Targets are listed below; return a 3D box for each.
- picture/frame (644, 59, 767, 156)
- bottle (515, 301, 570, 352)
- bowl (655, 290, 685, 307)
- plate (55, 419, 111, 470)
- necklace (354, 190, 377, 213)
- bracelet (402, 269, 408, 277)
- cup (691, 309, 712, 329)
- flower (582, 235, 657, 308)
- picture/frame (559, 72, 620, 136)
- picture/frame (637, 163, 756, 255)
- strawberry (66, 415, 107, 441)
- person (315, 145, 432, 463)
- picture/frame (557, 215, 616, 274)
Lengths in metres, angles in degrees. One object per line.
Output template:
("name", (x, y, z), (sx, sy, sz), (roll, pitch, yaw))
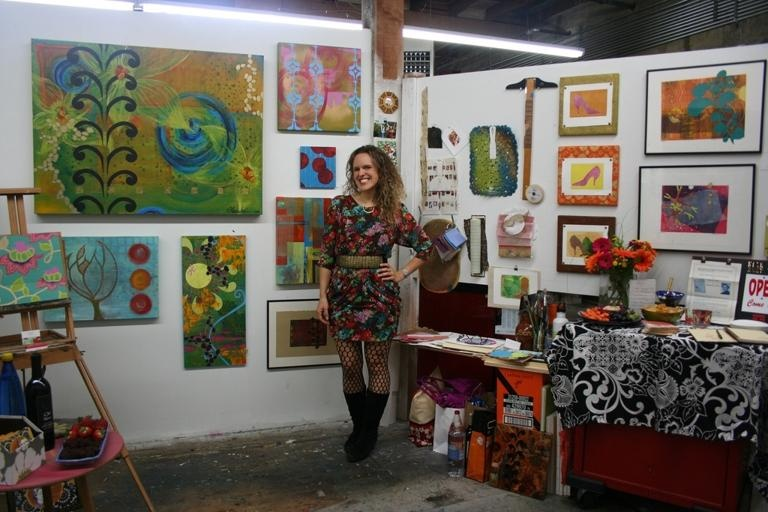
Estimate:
("picture/frame", (2.366, -1.077, 4.005), (0.728, 0.586, 0.017), (1, 0, 17))
("bottle", (1.214, 0.546, 4.375), (0.428, 0.420, 0.271), (2, 0, 10))
("bowl", (2.053, 0.297, 3.967), (0.139, 0.095, 0.140), (7, 7, -1))
("plate", (-1.754, 1.084, 3.264), (0.162, 0.105, 0.311), (8, 18, -12))
("necklace", (-0.144, -0.421, 4.362), (0.181, 0.186, 0.059), (1, 1, 5))
("bracelet", (0.173, 0.134, 4.412), (0.052, 0.051, 0.014), (5, -10, -36))
("cup", (2.182, 0.434, 3.803), (0.117, 0.124, 0.113), (2, 2, 0))
("flower", (1.722, 0.015, 4.151), (0.587, 0.617, 0.485), (6, 9, 44))
("picture/frame", (1.617, -1.188, 4.306), (0.500, 0.493, 0.052), (2, 2, 22))
("picture/frame", (2.318, -0.337, 4.036), (0.656, 0.585, 0.027), (2, 4, 27))
("strawberry", (-1.777, 1.034, 3.364), (0.153, 0.086, 0.161), (5, -5, -10))
("person", (-0.131, 0.353, 4.500), (0.757, 2.433, 0.544), (-11, 17, -41))
("picture/frame", (1.577, -0.090, 4.256), (0.427, 0.458, 0.029), (3, -1, 27))
